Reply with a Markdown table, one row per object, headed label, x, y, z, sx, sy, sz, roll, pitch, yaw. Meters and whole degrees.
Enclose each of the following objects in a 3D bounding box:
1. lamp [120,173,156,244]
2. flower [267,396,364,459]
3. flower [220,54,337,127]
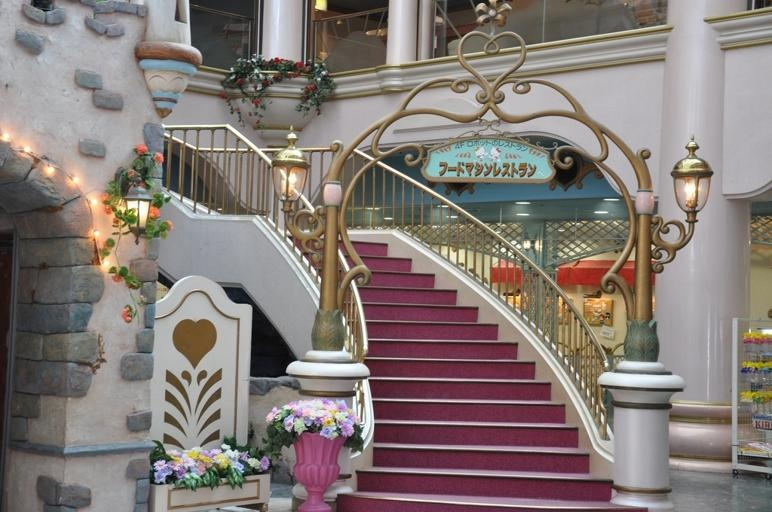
| label | x | y | z | sx | sy | sz | roll | pitch | yaw |
| --- | --- | --- | --- | --- | --- | --- | --- | --- | --- |
| lamp | -2.164 | -0.398 | 11.599 | 0.213 | 0.500 | 0.162 | -9 | -12 | 30 |
| flower | -0.662 | 1.511 | 11.954 | 0.612 | 0.359 | 0.601 | 3 | -7 | -28 |
| flower | -1.457 | -2.262 | 17.830 | 1.331 | 0.912 | 1.140 | 3 | -14 | 1 |
